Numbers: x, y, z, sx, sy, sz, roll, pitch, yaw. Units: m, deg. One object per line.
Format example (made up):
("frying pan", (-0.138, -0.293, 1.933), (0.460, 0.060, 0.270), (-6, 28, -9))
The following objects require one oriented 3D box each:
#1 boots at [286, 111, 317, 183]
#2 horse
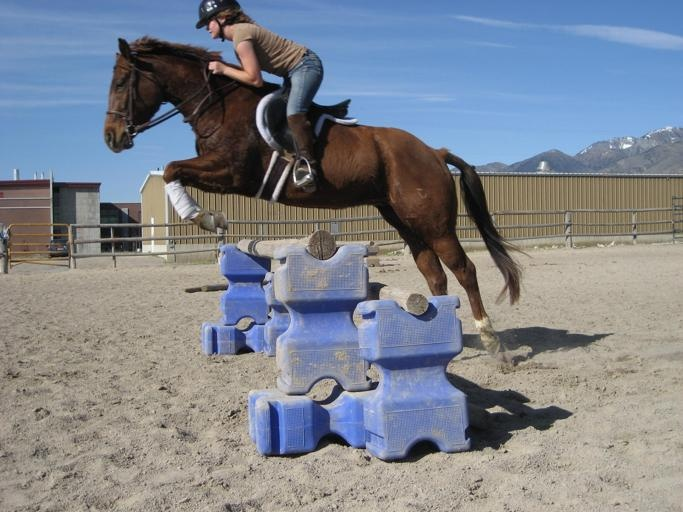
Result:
("boots", (-0.272, -0.760, 4.497), (0.213, 0.470, 0.204), (-2, 12, -21))
("horse", (-0.965, -0.827, 5.920), (3.757, 2.858, 2.177), (-1, 10, -27))
